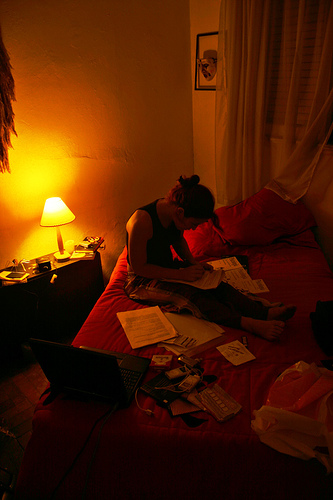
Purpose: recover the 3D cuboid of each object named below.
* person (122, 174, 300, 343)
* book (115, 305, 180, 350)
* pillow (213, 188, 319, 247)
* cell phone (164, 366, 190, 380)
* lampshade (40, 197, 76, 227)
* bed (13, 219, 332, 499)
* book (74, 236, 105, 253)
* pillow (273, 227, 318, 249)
[{"bbox_3d":[0.186,0.003,1.808,0.862,0.689,0.420,15,19,32],"label":"person"},{"bbox_3d":[-0.103,0.341,1.643,0.195,0.277,0.035,-10,43,1],"label":"book"},{"bbox_3d":[0.713,-0.290,2.810,0.742,0.239,0.858,1,18,11],"label":"pillow"},{"bbox_3d":[0.041,0.430,1.304,0.061,0.011,0.034,-7,13,-30],"label":"cell phone"},{"bbox_3d":[-0.640,-0.210,2.262,0.169,0.160,0.184,-8,24,12],"label":"lampshade"},{"bbox_3d":[0.192,0.374,1.524,0.947,0.202,1.533,6,32,25],"label":"bed"},{"bbox_3d":[-0.534,-0.039,2.554,0.112,0.031,0.117,-1,40,25],"label":"book"},{"bbox_3d":[0.877,-0.074,2.407,0.148,0.045,0.155,-8,29,5],"label":"pillow"}]
